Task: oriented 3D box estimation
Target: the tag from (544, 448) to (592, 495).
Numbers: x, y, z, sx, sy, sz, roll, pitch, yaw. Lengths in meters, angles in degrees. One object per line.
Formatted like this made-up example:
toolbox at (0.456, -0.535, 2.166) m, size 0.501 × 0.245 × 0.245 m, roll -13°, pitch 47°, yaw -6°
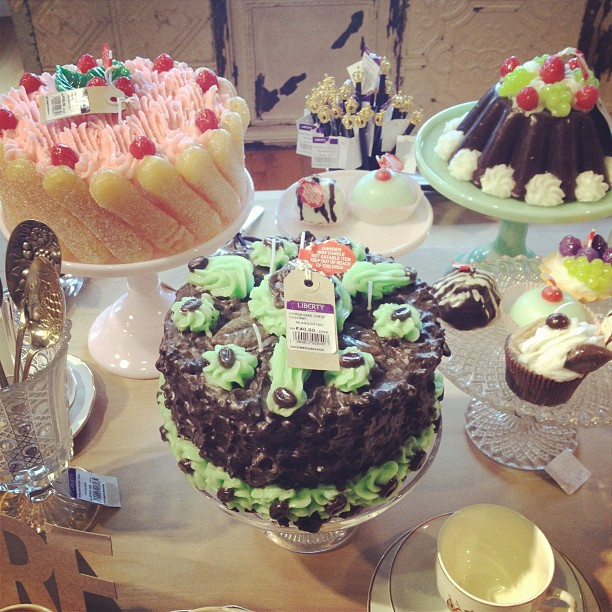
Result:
tag at (0.602, 0.380, 1.353) m, size 0.084 × 0.022 × 0.090 m, roll 42°, pitch 63°, yaw 16°

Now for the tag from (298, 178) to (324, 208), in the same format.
tag at (-0.004, -0.370, 1.861) m, size 0.066 × 0.088 × 0.102 m, roll -25°, pitch 43°, yaw -24°

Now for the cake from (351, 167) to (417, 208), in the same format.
cake at (0.255, -0.398, 1.913) m, size 0.180 × 0.105 × 0.158 m, roll 28°, pitch 47°, yaw 34°

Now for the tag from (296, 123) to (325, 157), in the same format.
tag at (0.011, -0.608, 2.058) m, size 0.102 × 0.123 × 0.129 m, roll -2°, pitch 38°, yaw 1°

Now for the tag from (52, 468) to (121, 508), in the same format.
tag at (-0.478, 0.400, 1.271) m, size 0.190 × 0.007 × 0.091 m, roll 18°, pitch 31°, yaw -20°

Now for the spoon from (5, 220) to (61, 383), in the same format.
spoon at (-0.511, 0.008, 1.076) m, size 0.085 × 0.329 × 0.049 m, roll 5°, pitch 1°, yaw -7°

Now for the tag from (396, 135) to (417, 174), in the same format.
tag at (0.357, -0.544, 2.059) m, size 0.086 × 0.134 × 0.002 m, roll 17°, pitch 33°, yaw 39°

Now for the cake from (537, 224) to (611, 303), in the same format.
cake at (0.802, -0.115, 1.764) m, size 0.275 × 0.164 × 0.247 m, roll 8°, pitch 34°, yaw 18°

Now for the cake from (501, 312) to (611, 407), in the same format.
cake at (0.527, 0.100, 1.357) m, size 0.278 × 0.204 × 0.203 m, roll 10°, pitch 41°, yaw 11°

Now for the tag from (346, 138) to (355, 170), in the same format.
tag at (0.153, -0.556, 2.067) m, size 0.036 × 0.090 × 0.059 m, roll 3°, pitch 53°, yaw 7°

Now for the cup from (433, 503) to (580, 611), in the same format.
cup at (0.323, 0.459, 1.014) m, size 0.250 × 0.106 × 0.178 m, roll 19°, pitch 35°, yaw -4°

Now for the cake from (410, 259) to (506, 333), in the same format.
cake at (0.405, -0.076, 1.622) m, size 0.180 × 0.104 × 0.176 m, roll 40°, pitch 11°, yaw -6°

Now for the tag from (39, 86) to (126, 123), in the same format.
tag at (-0.523, -0.470, 1.328) m, size 0.199 × 0.064 × 0.071 m, roll -14°, pitch 39°, yaw -16°

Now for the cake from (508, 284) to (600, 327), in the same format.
cake at (0.651, -0.011, 1.502) m, size 0.154 × 0.131 × 0.143 m, roll 17°, pitch 47°, yaw 27°

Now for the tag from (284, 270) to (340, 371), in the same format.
tag at (0.005, 0.017, 0.859) m, size 0.104 × 0.160 × 0.008 m, roll 4°, pitch 10°, yaw 37°
